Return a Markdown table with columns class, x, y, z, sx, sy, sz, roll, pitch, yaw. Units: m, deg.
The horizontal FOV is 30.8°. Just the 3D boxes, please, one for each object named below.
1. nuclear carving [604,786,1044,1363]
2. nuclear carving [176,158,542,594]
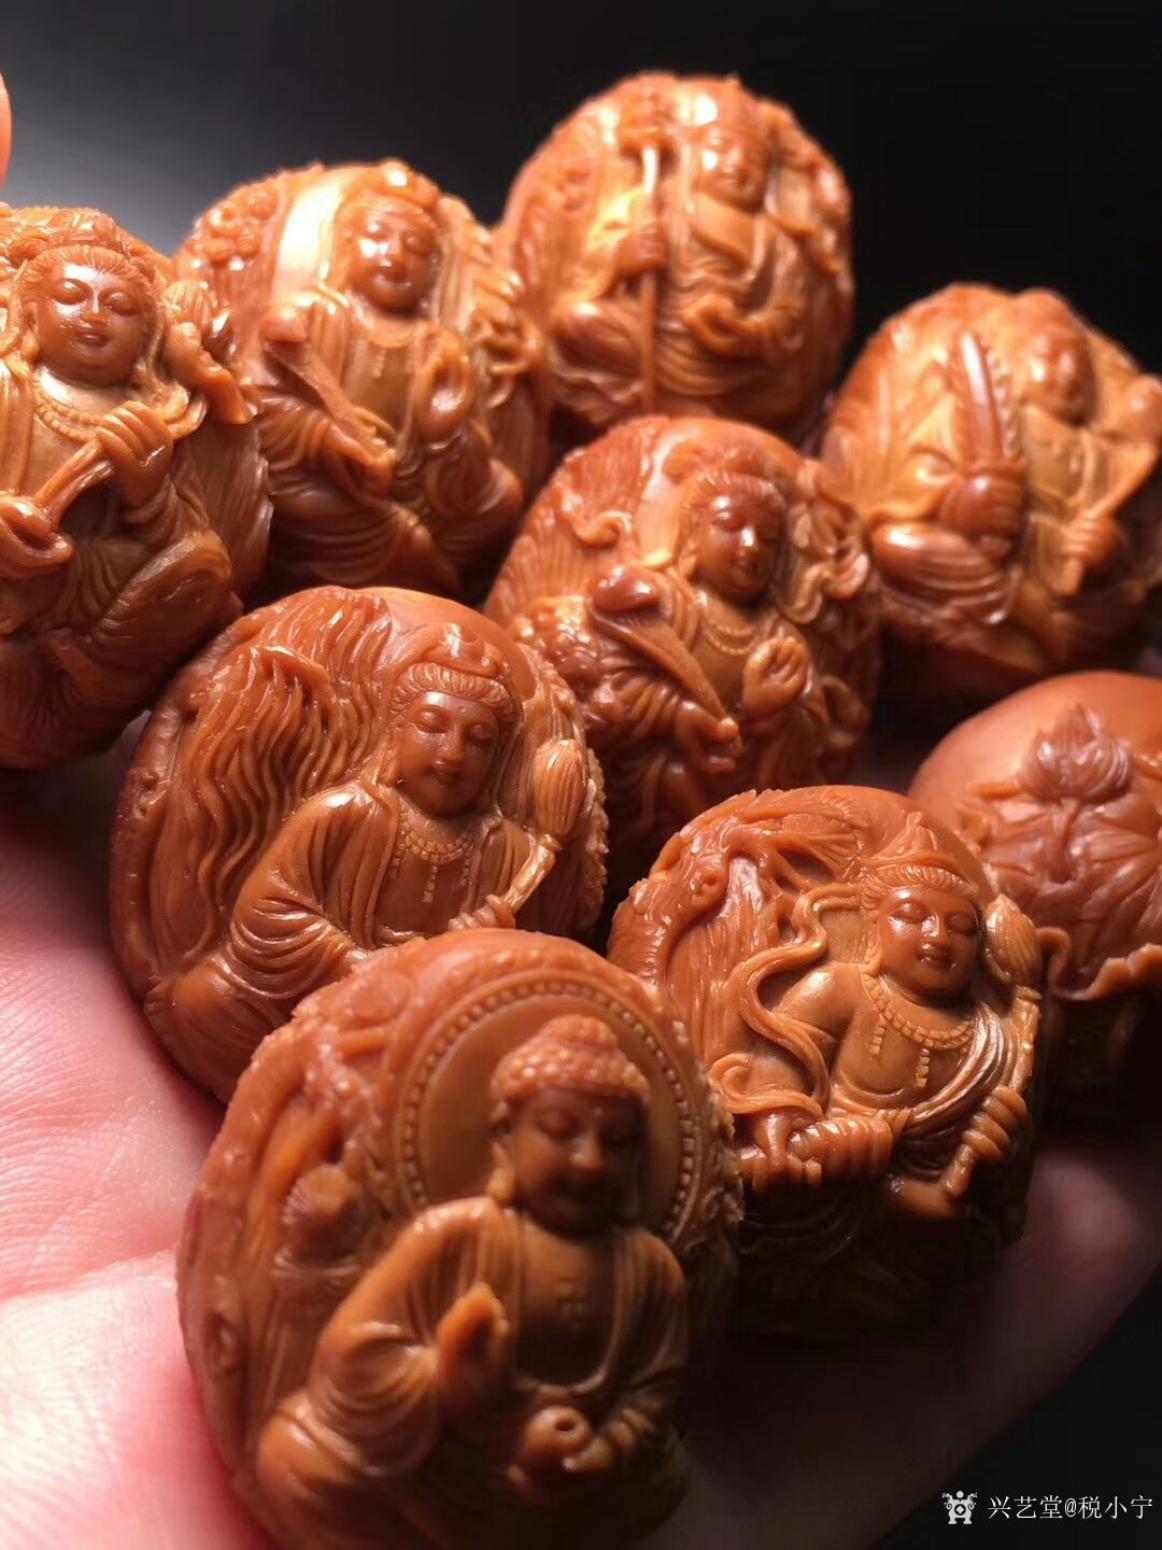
| class | x | y | z | sx | sy | sz | roll | pitch | yaw |
| --- | --- | --- | --- | --- | --- | --- | --- | --- | --- |
| nuclear carving | 0.191 | 0.264 | 1.956 | 0.402 | 0.172 | 0.486 | 19 | 73 | -27 |
| nuclear carving | -0.233 | -0.391 | 2.241 | 0.374 | 0.460 | 0.153 | -3 | 1 | -30 |
